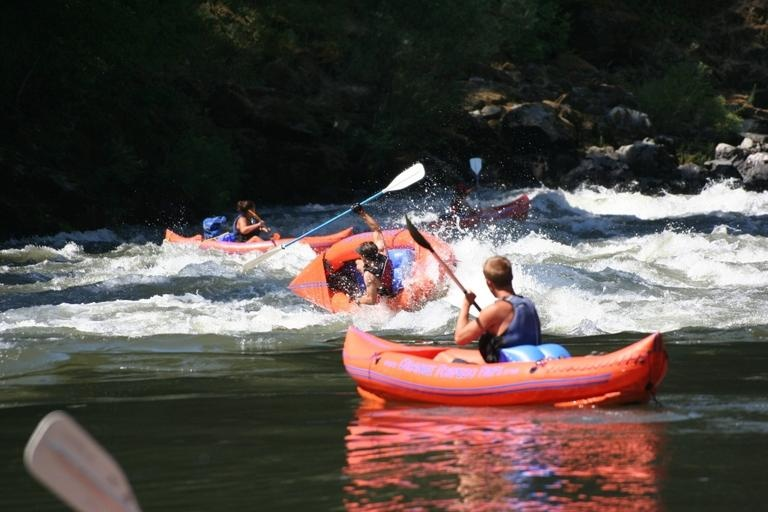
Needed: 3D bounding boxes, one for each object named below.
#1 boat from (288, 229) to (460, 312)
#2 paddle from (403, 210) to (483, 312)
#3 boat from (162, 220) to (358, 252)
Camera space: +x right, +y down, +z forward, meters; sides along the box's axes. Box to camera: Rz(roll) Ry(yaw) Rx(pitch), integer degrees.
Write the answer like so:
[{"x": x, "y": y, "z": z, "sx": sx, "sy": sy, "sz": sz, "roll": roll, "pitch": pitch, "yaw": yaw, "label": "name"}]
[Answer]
[{"x": -0.180, "y": 0.400, "z": 27.436, "sx": 3.324, "sy": 0.538, "sz": 2.129, "roll": -10, "pitch": 46, "yaw": -1, "label": "boat"}, {"x": 1.476, "y": 0.212, "z": 28.112, "sx": 0.246, "sy": 3.274, "sz": 0.402, "roll": -12, "pitch": -28, "yaw": -49, "label": "paddle"}, {"x": -3.489, "y": -0.566, "z": 33.529, "sx": 4.392, "sy": 0.645, "sz": 1.275, "roll": -2, "pitch": 0, "yaw": 23, "label": "boat"}]
